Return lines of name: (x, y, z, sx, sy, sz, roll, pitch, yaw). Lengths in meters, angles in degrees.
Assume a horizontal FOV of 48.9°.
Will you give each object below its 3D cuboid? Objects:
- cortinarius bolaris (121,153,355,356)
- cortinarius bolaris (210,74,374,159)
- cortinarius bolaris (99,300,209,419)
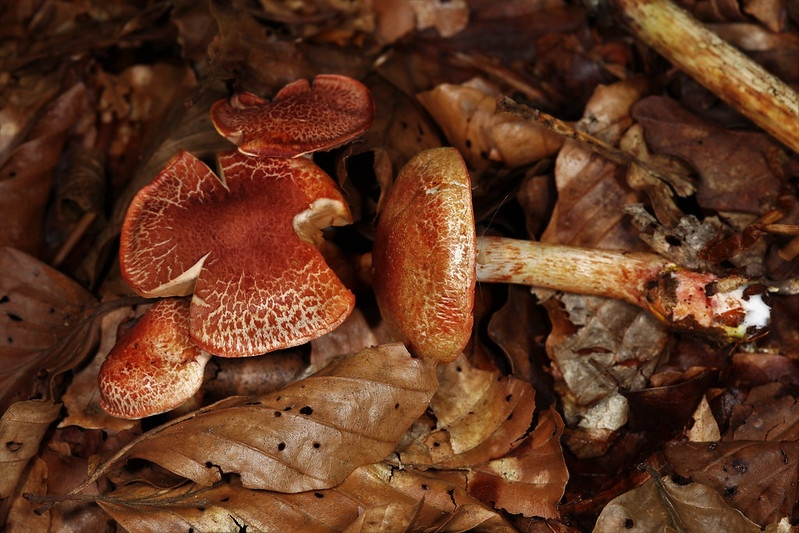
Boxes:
cortinarius bolaris: (-0.876, -0.077, 4.662, 1.215, 0.251, 1.068, -4, 70, -1)
cortinarius bolaris: (-0.583, -0.804, 4.822, 0.892, 0.171, 0.499, -9, 71, -3)
cortinarius bolaris: (-1.274, 0.543, 4.806, 0.476, 0.186, 0.636, 30, 83, 15)
